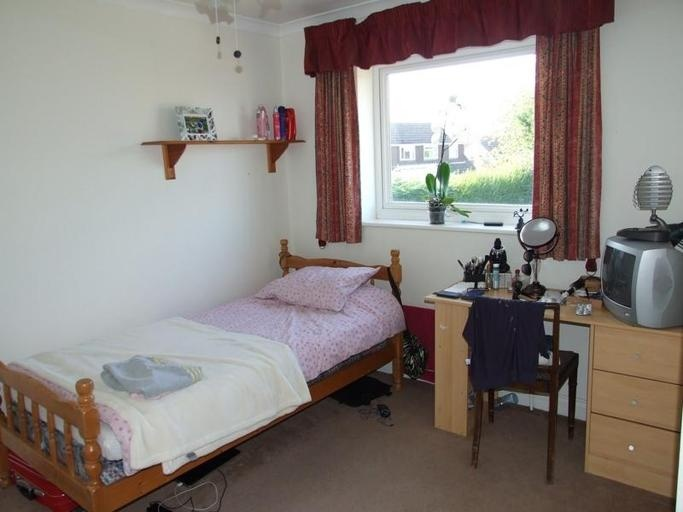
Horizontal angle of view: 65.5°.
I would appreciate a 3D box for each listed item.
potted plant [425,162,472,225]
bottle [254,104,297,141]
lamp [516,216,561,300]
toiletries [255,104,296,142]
[{"bbox_3d":[0.812,-0.493,4.207,0.318,0.463,0.368,7,-1,-31],"label":"potted plant"},{"bbox_3d":[-0.571,-1.143,4.603,0.335,0.431,0.291,8,15,22],"label":"bottle"},{"bbox_3d":[1.243,-0.005,3.400,0.235,0.480,0.183,6,16,24],"label":"lamp"},{"bbox_3d":[-0.566,-1.140,4.556,0.356,0.311,0.362,-4,13,-5],"label":"toiletries"}]
